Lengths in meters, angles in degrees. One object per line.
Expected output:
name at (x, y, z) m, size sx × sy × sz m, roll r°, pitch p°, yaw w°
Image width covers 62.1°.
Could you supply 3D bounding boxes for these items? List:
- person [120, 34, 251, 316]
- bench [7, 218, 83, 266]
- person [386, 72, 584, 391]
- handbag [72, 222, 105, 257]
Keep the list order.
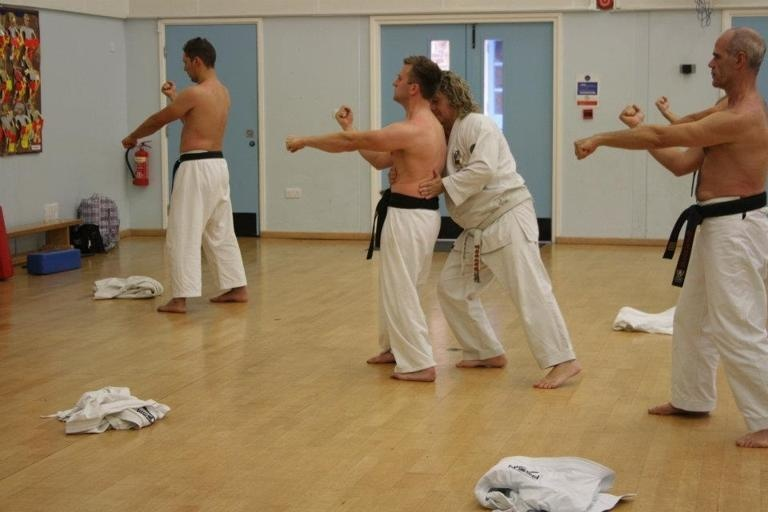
person at (-1.745, -0.720, 5.844) m, size 0.796 × 2.436 × 0.668 m, roll -5°, pitch 12°, yaw -13°
bench at (-4.340, -0.192, 8.122) m, size 0.524 × 0.409 × 1.041 m, roll 5°, pitch 14°, yaw 29°
person at (0.741, -0.175, 4.105) m, size 0.966 × 1.995 × 0.464 m, roll 2°, pitch 13°, yaw 18°
handbag at (-4.009, -0.190, 8.532) m, size 0.314 × 0.462 × 0.430 m, roll 4°, pitch 7°, yaw 19°
